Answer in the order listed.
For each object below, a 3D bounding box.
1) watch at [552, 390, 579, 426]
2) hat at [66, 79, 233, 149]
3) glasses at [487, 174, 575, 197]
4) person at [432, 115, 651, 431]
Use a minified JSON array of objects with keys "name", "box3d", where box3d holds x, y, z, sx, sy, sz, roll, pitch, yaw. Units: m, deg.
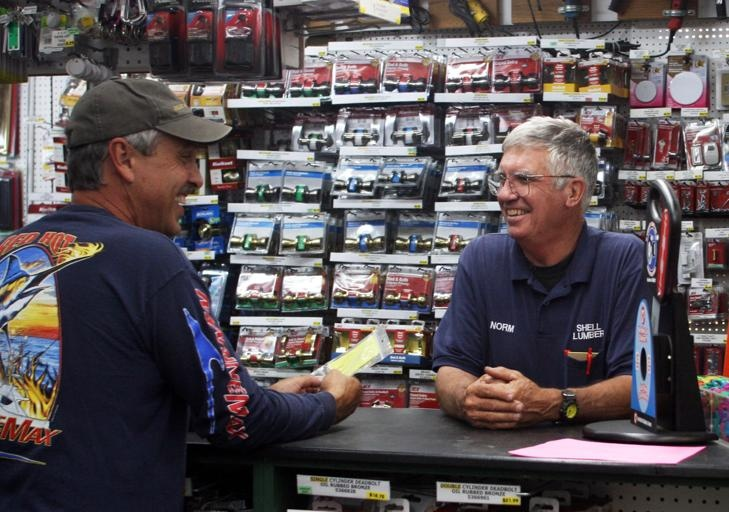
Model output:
[{"name":"watch","box3d":[0.712,0.531,2.537,0.080,0.115,0.105,-4,19,3]},{"name":"hat","box3d":[-0.639,-0.390,2.116,0.364,0.134,0.222,-3,5,-20]},{"name":"glasses","box3d":[0.663,-0.275,2.826,0.243,0.067,0.232,-3,6,-30]},{"name":"person","box3d":[0.623,0.036,2.724,0.792,1.084,0.718,0,11,18]}]
